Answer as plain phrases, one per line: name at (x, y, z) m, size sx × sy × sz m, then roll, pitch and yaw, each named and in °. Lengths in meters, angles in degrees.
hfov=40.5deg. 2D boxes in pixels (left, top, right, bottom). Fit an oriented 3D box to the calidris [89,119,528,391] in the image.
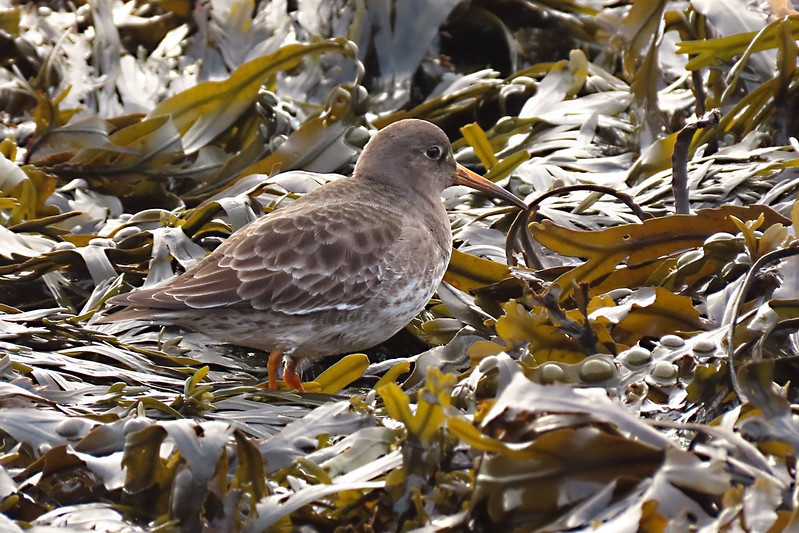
calidris at (-0.223, -0.006, 4.014) m, size 0.701 × 0.510 × 1.356 m, roll 40°, pitch 68°, yaw 15°
